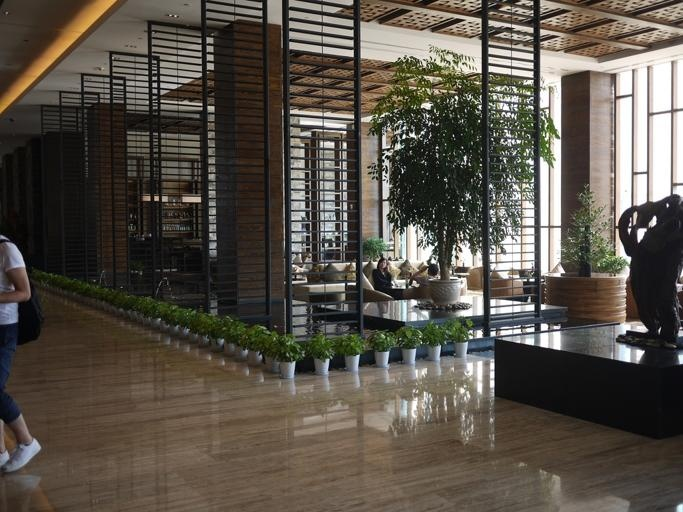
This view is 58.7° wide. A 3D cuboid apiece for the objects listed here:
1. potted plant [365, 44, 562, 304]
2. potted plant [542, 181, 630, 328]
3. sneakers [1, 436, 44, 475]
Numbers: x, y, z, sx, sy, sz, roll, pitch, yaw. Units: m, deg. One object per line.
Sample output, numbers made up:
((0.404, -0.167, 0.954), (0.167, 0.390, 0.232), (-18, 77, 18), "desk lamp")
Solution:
((1.754, -1.457, 9.447), (2.490, 3.693, 2.107), (-1, 6, 0), "potted plant")
((4.543, 0.071, 11.307), (1.403, 2.238, 1.359), (-1, -2, 25), "potted plant")
((-2.358, 1.458, 4.532), (0.134, 0.132, 0.341), (25, 42, 18), "sneakers")
